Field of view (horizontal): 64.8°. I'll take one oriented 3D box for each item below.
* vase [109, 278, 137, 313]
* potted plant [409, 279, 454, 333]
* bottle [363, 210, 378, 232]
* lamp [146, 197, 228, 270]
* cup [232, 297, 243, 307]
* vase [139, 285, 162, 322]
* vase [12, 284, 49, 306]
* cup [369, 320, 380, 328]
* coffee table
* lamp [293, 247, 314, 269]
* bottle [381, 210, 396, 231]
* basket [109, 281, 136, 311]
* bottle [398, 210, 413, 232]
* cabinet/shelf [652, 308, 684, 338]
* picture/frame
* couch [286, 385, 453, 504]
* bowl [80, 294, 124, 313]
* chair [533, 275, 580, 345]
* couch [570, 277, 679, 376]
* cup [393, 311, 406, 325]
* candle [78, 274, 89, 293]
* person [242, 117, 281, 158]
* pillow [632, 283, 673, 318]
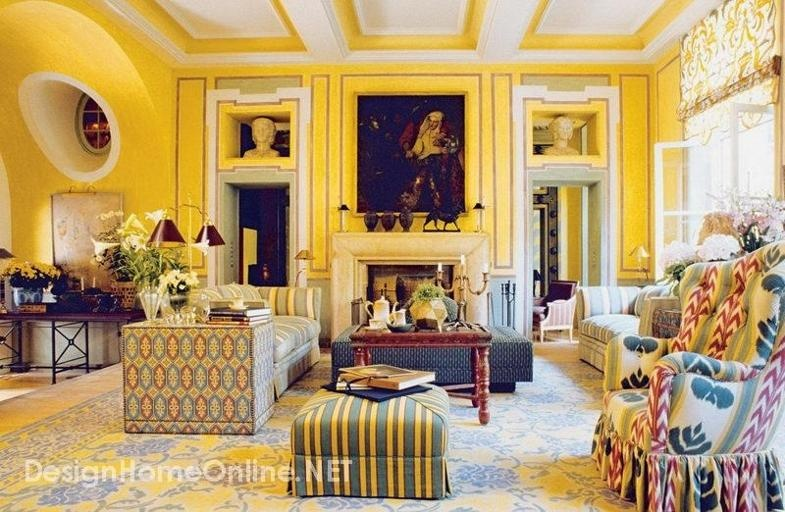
[{"bbox_3d":[-3.706,0.561,8.589,0.423,0.460,0.423,-1,-1,-14],"label":"vase"},{"bbox_3d":[0.332,0.506,6.318,0.394,0.484,0.433,1,-1,-14],"label":"potted plant"},{"bbox_3d":[-0.294,-0.495,8.734,0.237,0.282,0.249,1,-5,6],"label":"bottle"},{"bbox_3d":[-2.629,-0.325,7.848,1.046,1.221,0.483,0,-1,-13],"label":"lamp"},{"bbox_3d":[-1.489,0.453,5.961,0.069,0.082,0.081,2,0,-37],"label":"cup"},{"bbox_3d":[-2.367,0.468,6.060,0.274,0.314,0.261,2,-5,-34],"label":"vase"},{"bbox_3d":[-5.029,0.556,8.559,0.316,0.229,0.328,1,-2,8],"label":"vase"},{"bbox_3d":[-0.180,0.676,6.180,0.087,0.066,0.071,-1,-5,10],"label":"cup"},{"bbox_3d":[0.360,1.106,6.238,1.034,0.672,1.040,-1,0,2],"label":"coffee table"},{"bbox_3d":[-1.266,0.044,8.834,0.281,0.286,0.284,-4,-6,27],"label":"lamp"},{"bbox_3d":[-0.052,-0.485,8.703,0.240,0.274,0.233,2,-2,20],"label":"bottle"},{"bbox_3d":[-3.733,0.565,8.590,0.361,0.393,0.364,0,-1,14],"label":"basket"},{"bbox_3d":[0.194,-0.516,8.800,0.189,0.364,0.233,0,-1,0],"label":"bottle"},{"bbox_3d":[2.824,0.701,6.344,0.241,0.267,0.373,1,1,13],"label":"cabinet/shelf"},{"bbox_3d":[0.287,-1.417,8.931,1.913,2.010,0.160,0,-2,-1],"label":"picture/frame"},{"bbox_3d":[-0.179,1.536,4.992,1.290,0.772,0.274,0,0,-1],"label":"couch"},{"bbox_3d":[-4.007,0.648,8.520,0.529,0.248,0.207,0,-1,13],"label":"bowl"},{"bbox_3d":[2.631,0.869,10.083,0.841,1.161,0.878,1,-4,-7],"label":"chair"},{"bbox_3d":[2.978,0.779,7.642,1.242,1.205,1.312,3,-5,-11],"label":"couch"},{"bbox_3d":[0.062,0.613,6.130,0.137,0.151,0.168,0,-1,0],"label":"cup"},{"bbox_3d":[-4.450,0.389,8.919,0.106,0.210,0.096,0,-1,42],"label":"candle"},{"bbox_3d":[-2.023,-1.803,9.389,0.652,0.757,0.406,1,2,-2],"label":"person"},{"bbox_3d":[3.022,0.529,7.174,0.421,0.362,0.445,8,-1,-4],"label":"pillow"}]
